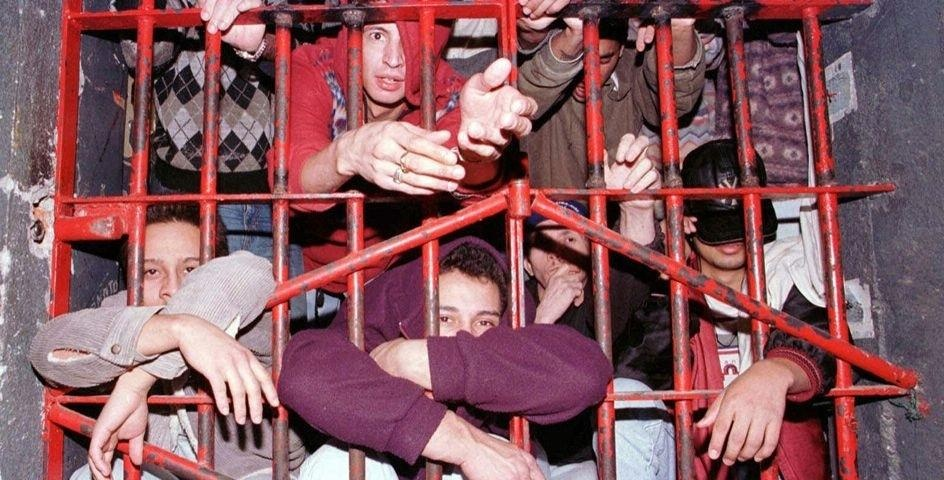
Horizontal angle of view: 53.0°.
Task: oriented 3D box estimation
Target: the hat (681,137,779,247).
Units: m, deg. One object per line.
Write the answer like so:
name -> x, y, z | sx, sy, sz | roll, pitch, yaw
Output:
hat -> 1.670, -0.408, 6.259 | 0.642, 0.452, 0.902 | -4, 30, 11

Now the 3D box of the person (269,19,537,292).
person -> -0.412, -0.463, 5.166 | 0.906, 1.595, 1.187 | 10, 52, -26

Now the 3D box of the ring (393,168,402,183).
ring -> -0.373, -0.320, 4.737 | 0.048, 0.024, 0.064 | 10, 102, 20
